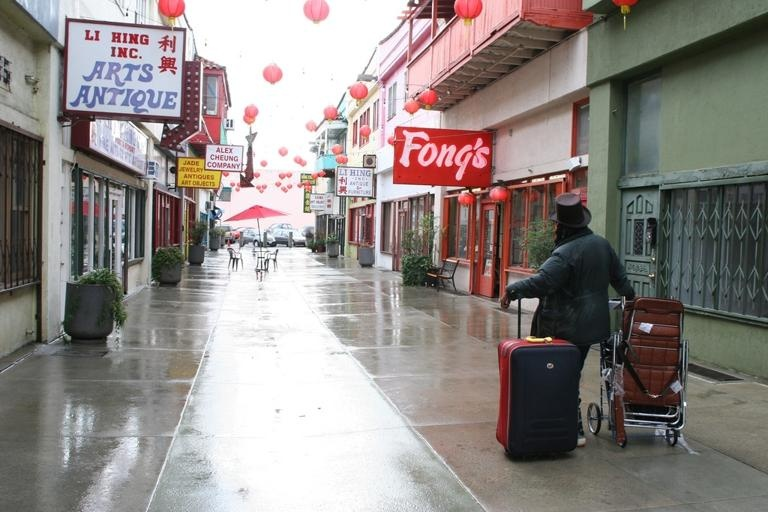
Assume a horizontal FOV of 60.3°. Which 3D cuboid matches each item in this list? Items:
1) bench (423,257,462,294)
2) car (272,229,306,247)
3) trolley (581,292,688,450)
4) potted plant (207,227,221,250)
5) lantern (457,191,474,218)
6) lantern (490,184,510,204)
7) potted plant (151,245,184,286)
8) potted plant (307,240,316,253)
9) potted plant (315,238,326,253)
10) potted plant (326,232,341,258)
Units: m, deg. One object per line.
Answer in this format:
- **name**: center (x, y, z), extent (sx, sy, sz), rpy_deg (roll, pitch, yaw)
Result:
- **bench**: center (1.817, 0.603, 20.932), extent (0.765, 0.954, 0.991), rpy_deg (3, 5, -24)
- **car**: center (-8.153, -1.492, 55.837), extent (3.313, 1.164, 1.380), rpy_deg (-1, 1, 42)
- **trolley**: center (3.054, 1.374, 7.888), extent (1.091, 1.653, 1.257), rpy_deg (2, -10, 30)
- **potted plant**: center (-11.122, -1.045, 43.328), extent (0.668, 1.377, 1.212), rpy_deg (-1, 7, -18)
- **lantern**: center (2.504, -1.550, 19.226), extent (0.566, 0.668, 0.597), rpy_deg (-2, -1, -18)
- **lantern**: center (3.009, -1.604, 17.162), extent (0.438, 0.444, 0.451), rpy_deg (-1, -6, 19)
- **potted plant**: center (-6.699, 0.310, 20.511), extent (1.016, 1.226, 1.089), rpy_deg (0, 2, 6)
- **potted plant**: center (-4.904, -0.646, 45.695), extent (0.825, 0.885, 0.849), rpy_deg (4, 7, 33)
- **potted plant**: center (-4.289, -0.628, 44.688), extent (0.764, 0.805, 0.778), rpy_deg (0, -8, -14)
- **potted plant**: center (-2.983, -0.580, 38.951), extent (0.647, 1.167, 2.492), rpy_deg (0, 7, -8)
